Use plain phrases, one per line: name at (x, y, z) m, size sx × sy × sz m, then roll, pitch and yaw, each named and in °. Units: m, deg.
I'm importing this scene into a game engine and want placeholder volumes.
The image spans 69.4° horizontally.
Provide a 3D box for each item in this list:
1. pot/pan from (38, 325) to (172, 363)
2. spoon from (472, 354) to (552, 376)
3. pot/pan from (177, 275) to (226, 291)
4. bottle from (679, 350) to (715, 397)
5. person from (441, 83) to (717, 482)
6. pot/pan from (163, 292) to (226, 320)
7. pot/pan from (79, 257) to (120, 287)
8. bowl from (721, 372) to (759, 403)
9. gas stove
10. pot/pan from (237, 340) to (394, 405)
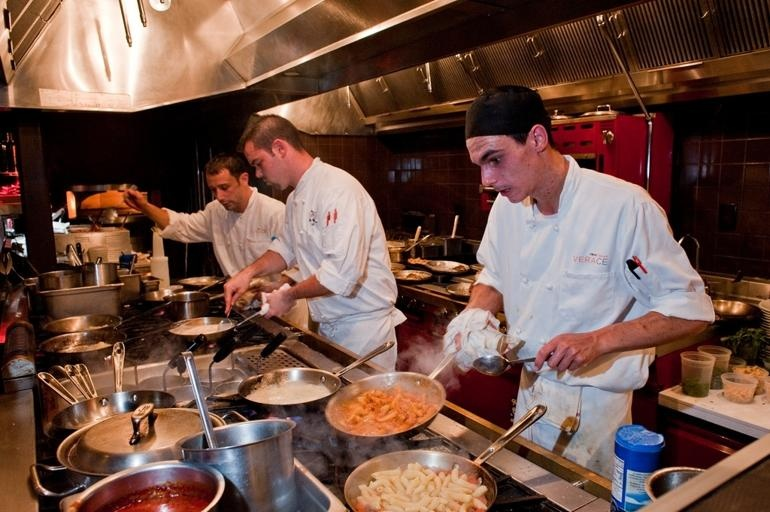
pot/pan at (-1.435, 0.436, 2.827) m, size 0.445 × 0.063 × 0.235 m, roll -4°, pitch 7°, yaw -36°
spoon at (0.471, 0.428, 2.197) m, size 0.240 × 0.081 × 0.167 m, roll -5°, pitch 6°, yaw 3°
pot/pan at (-1.283, 0.197, 3.945) m, size 0.278 × 0.051 × 0.562 m, roll -8°, pitch 6°, yaw -26°
bottle at (1.740, 0.664, 3.098) m, size 0.183 × 0.202 × 0.192 m, roll 3°, pitch 3°, yaw 40°
person at (0.778, 0.163, 2.332) m, size 0.997 × 1.757 × 0.645 m, roll -2°, pitch 7°, yaw 30°
pot/pan at (-1.121, 0.286, 3.199) m, size 0.256 × 0.093 × 0.147 m, roll 1°, pitch 5°, yaw 1°
pot/pan at (-1.759, 0.104, 3.415) m, size 0.177 × 0.122 × 0.175 m, roll 0°, pitch -3°, yaw -5°
bowl at (1.881, 0.700, 2.955) m, size 0.157 × 0.096 × 0.154 m, roll 0°, pitch 4°, yaw 0°
gas stove at (-1.233, 0.435, 2.857) m, size 0.858 × 0.115 × 0.380 m, roll -3°, pitch 2°, yaw -24°
pot/pan at (-0.350, 0.511, 2.370) m, size 0.504 × 0.069 × 0.273 m, roll -4°, pitch 3°, yaw -40°
